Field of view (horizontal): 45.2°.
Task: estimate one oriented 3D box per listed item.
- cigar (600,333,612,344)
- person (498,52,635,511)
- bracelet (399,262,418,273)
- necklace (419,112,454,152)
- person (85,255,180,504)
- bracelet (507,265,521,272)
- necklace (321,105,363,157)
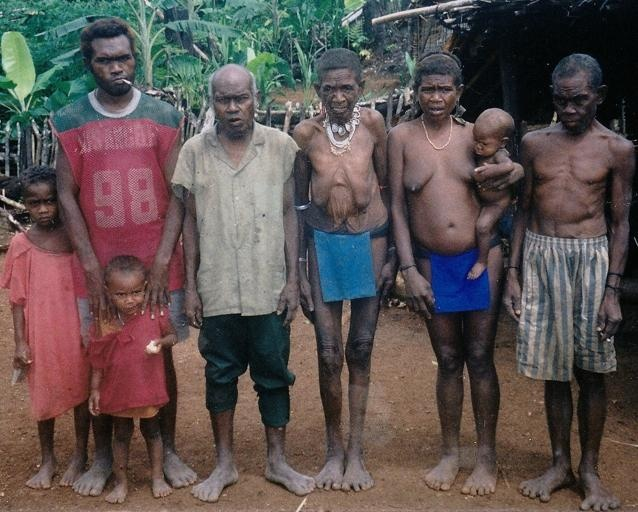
[{"bbox_3d":[1.808,0.526,4.837,0.075,0.034,0.056,34,50,21],"label":"cigar"},{"bbox_3d":[1.567,0.156,4.861,0.749,2.779,0.817,2,15,13],"label":"person"},{"bbox_3d":[0.587,0.081,5.069,0.087,0.024,0.049,-14,-1,23],"label":"bracelet"},{"bbox_3d":[0.776,-0.797,5.058,0.212,0.202,0.173,1,14,7],"label":"necklace"},{"bbox_3d":[-1.195,0.777,4.933,0.575,1.533,0.464,-6,15,-17],"label":"person"},{"bbox_3d":[1.294,0.087,5.104,0.087,0.029,0.034,6,1,8],"label":"bracelet"},{"bbox_3d":[0.163,-0.828,5.075,0.271,0.317,0.224,-4,14,-11],"label":"necklace"}]
